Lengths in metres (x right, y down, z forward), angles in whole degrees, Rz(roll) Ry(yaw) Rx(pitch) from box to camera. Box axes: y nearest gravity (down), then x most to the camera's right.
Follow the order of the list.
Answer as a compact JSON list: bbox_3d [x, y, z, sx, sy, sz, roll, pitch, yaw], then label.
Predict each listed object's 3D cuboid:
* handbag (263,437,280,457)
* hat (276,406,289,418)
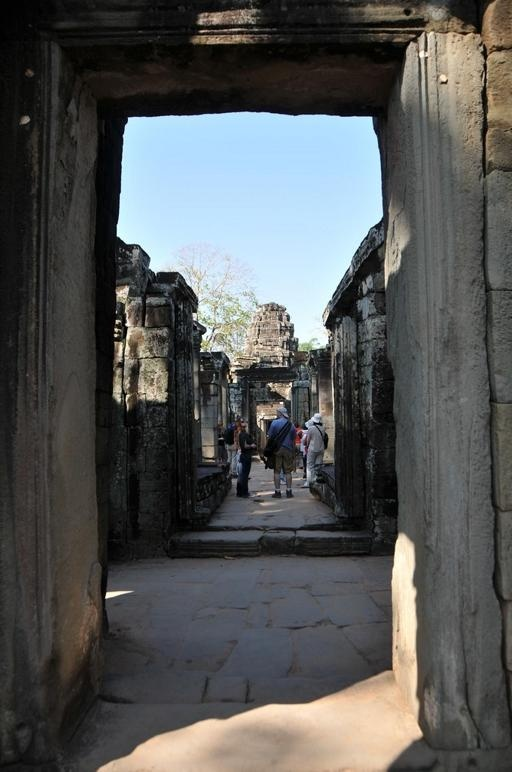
[{"bbox_3d":[0.182,0.720,9.168,0.167,0.230,0.257,-2,-2,0],"label":"handbag"},{"bbox_3d":[0.313,0.313,9.213,0.087,0.120,0.121,2,-4,1],"label":"hat"}]
